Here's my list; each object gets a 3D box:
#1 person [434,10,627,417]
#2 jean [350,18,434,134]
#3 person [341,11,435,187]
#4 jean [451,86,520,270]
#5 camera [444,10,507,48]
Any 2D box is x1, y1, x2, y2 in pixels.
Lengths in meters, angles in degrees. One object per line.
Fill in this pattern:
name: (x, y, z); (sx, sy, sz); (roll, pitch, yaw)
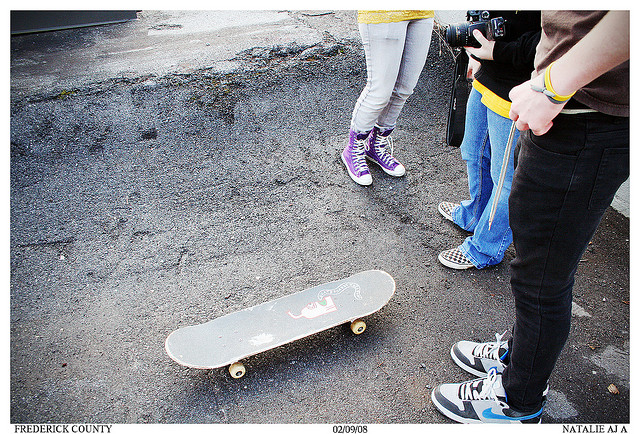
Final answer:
person: (1.273, 0.123, 2.780); (0.707, 2.313, 1.417); (15, 48, 17)
jean: (0.650, -1.266, 4.392); (0.704, 1.139, 0.342); (0, 46, 3)
person: (0.591, -1.073, 4.405); (0.773, 1.591, 0.676); (3, 46, 7)
jean: (1.290, -0.297, 3.628); (0.545, 1.621, 0.634); (-8, 52, 8)
camera: (1.081, -1.294, 3.263); (0.340, 0.201, 0.307); (-11, 37, 2)
